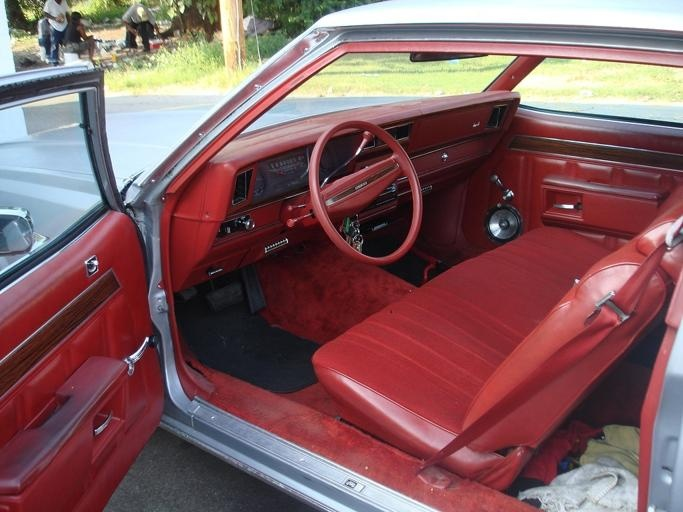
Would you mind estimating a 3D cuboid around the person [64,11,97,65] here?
[{"bbox_3d":[-4.730,-3.979,8.595,0.366,0.933,0.515,37,39,17],"label":"person"}]
